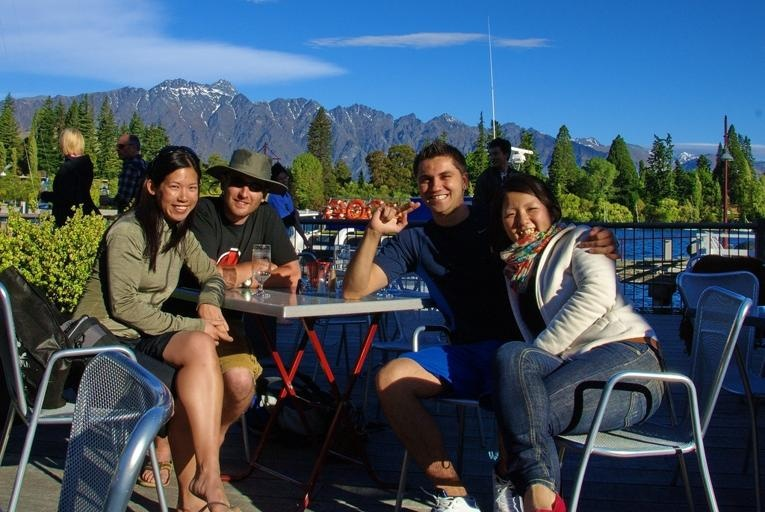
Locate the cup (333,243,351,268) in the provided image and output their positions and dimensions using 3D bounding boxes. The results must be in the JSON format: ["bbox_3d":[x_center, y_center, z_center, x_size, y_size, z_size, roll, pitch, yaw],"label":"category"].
[{"bbox_3d":[-0.256,0.001,3.908,0.093,0.150,0.140,0,-2,-9],"label":"cup"}]

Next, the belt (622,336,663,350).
[{"bbox_3d":[1.232,0.395,2.989,0.112,0.066,0.094,-7,-6,44],"label":"belt"}]

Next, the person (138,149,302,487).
[{"bbox_3d":[-1.051,0.360,4.239,0.828,2.167,1.013,10,2,-31],"label":"person"}]

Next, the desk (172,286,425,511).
[{"bbox_3d":[-0.532,0.628,3.721,1.206,1.236,1.224,0,-1,-31],"label":"desk"}]

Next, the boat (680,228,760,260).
[{"bbox_3d":[5.971,-0.218,10.920,0.777,0.445,4.117,6,4,32],"label":"boat"}]

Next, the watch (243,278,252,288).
[{"bbox_3d":[-0.873,0.174,4.029,0.044,0.049,0.012,-8,-21,-20],"label":"watch"}]

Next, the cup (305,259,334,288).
[{"bbox_3d":[-0.386,0.108,3.771,0.163,0.176,0.143,4,-7,-21],"label":"cup"}]
